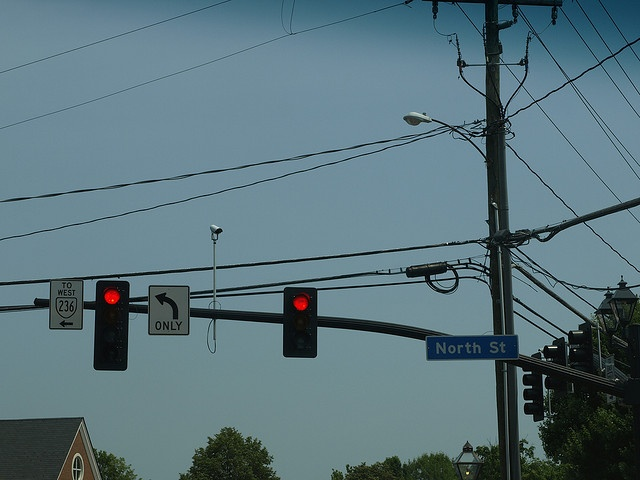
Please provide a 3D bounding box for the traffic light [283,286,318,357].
[{"bbox_3d":[-0.700,2.907,52.489,1.210,2.318,0.737,0,-22,-3],"label":"traffic light"}]

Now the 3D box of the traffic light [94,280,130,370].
[{"bbox_3d":[-7.465,3.069,52.847,1.221,3.000,1.022,3,-22,-10],"label":"traffic light"}]
